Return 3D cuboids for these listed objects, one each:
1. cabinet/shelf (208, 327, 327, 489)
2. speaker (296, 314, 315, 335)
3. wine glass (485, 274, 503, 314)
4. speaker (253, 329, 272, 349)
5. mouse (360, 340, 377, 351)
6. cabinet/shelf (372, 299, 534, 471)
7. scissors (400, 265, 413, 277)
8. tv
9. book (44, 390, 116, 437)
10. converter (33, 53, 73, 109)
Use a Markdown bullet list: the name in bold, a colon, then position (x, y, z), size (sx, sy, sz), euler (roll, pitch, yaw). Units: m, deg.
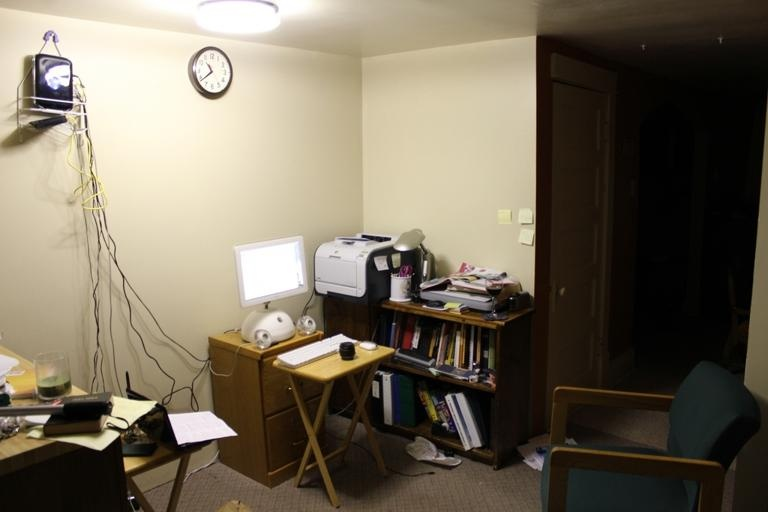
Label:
- **cabinet/shelf**: position (-0.914, 1.137, 4.379), size (0.705, 1.127, 0.847), euler (6, 10, 40)
- **speaker**: position (-0.589, 0.521, 4.193), size (0.123, 0.147, 0.128), euler (-3, 1, -12)
- **wine glass**: position (0.819, 0.297, 4.144), size (0.118, 0.233, 0.244), euler (1, 10, 14)
- **speaker**: position (-0.825, 0.572, 3.905), size (0.097, 0.130, 0.127), euler (0, 20, 6)
- **mouse**: position (-0.115, 0.627, 3.909), size (0.150, 0.042, 0.075), euler (5, 12, 36)
- **cabinet/shelf**: position (0.554, 0.935, 4.343), size (1.073, 1.130, 0.483), euler (3, 11, 24)
- **scissors**: position (0.178, 0.114, 4.467), size (0.080, 0.030, 0.081), euler (-35, 48, -22)
- **tv**: position (-0.829, 0.238, 4.027), size (0.214, 0.717, 0.572), euler (14, 12, 41)
- **book**: position (-1.368, 0.721, 2.518), size (0.451, 0.117, 0.244), euler (0, 7, 4)
- **converter**: position (-2.024, -1.064, 3.440), size (0.230, 0.323, 0.135), euler (-7, 11, -29)
